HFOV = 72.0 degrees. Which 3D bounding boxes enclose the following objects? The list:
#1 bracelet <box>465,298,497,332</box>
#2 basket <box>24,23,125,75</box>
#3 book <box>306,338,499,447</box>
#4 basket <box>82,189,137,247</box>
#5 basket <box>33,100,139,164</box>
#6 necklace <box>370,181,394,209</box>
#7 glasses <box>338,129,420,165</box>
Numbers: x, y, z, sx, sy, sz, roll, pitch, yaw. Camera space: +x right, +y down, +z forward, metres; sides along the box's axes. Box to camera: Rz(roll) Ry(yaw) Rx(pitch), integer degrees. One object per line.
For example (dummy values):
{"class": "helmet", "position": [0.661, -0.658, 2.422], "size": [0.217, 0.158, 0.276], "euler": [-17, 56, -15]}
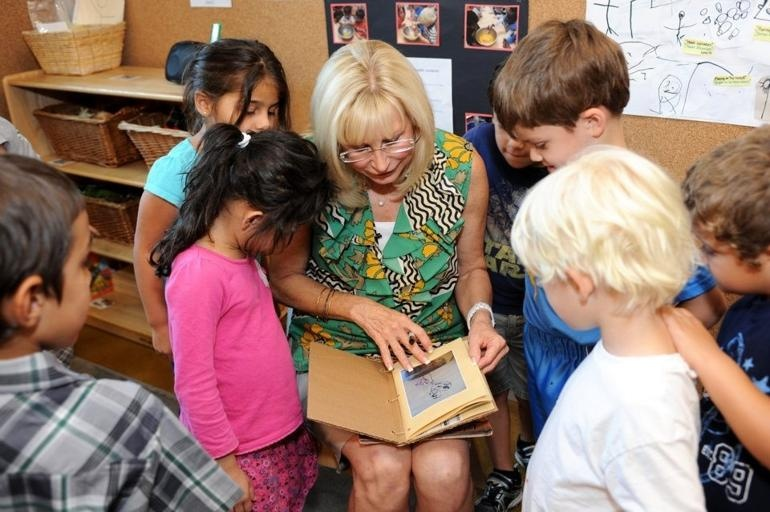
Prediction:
{"class": "bracelet", "position": [0.339, 0.210, 1.882], "size": [0.094, 0.068, 0.157], "euler": [4, 22, 5]}
{"class": "basket", "position": [-1.710, -1.133, 2.990], "size": [0.342, 0.232, 0.466], "euler": [0, 10, 21]}
{"class": "book", "position": [0.061, 0.458, 1.708], "size": [0.498, 0.149, 0.369], "euler": [-20, 41, 17]}
{"class": "basket", "position": [-1.591, -0.257, 3.139], "size": [0.401, 0.255, 0.309], "euler": [10, 19, 19]}
{"class": "basket", "position": [-1.660, -0.672, 3.026], "size": [0.517, 0.298, 0.420], "euler": [9, 27, 29]}
{"class": "necklace", "position": [-0.018, -0.226, 1.909], "size": [0.089, 0.088, 0.024], "euler": [2, 6, 19]}
{"class": "glasses", "position": [-0.031, -0.352, 1.768], "size": [0.247, 0.092, 0.068], "euler": [-1, 22, -6]}
